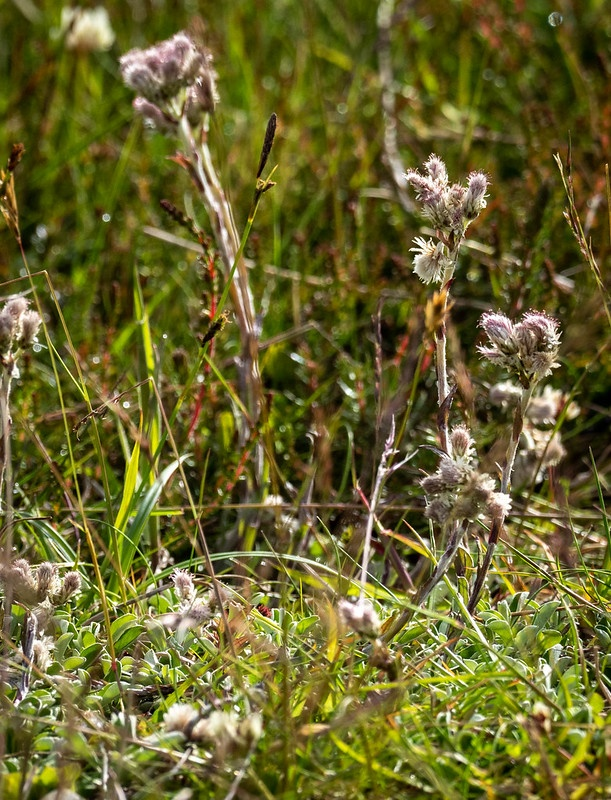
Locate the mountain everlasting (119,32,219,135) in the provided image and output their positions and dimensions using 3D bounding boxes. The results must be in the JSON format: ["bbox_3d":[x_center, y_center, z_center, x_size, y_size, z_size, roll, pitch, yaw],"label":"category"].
[{"bbox_3d":[-0.255,-0.593,1.628,0.180,0.258,0.226,-2,61,-8],"label":"mountain everlasting"}]

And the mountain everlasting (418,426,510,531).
[{"bbox_3d":[0.208,0.112,1.286,0.114,0.158,0.132,-13,84,3],"label":"mountain everlasting"}]

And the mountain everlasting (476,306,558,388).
[{"bbox_3d":[0.353,-0.091,1.350,0.132,0.120,0.110,-4,58,-14],"label":"mountain everlasting"}]
